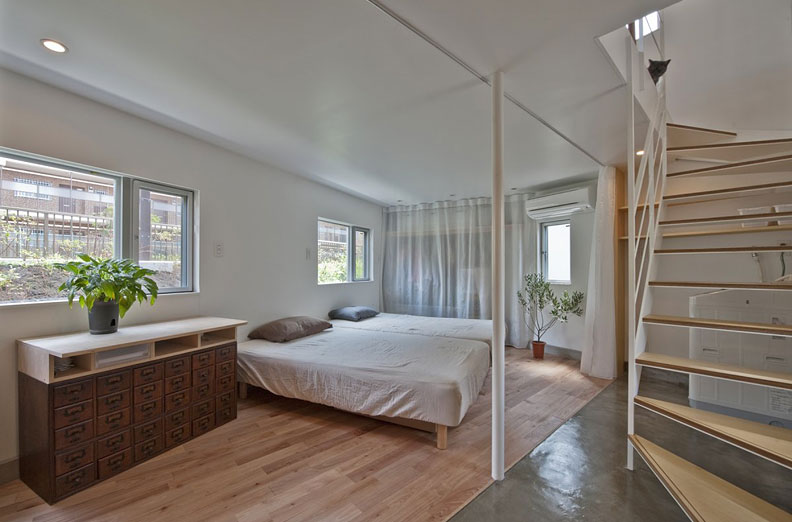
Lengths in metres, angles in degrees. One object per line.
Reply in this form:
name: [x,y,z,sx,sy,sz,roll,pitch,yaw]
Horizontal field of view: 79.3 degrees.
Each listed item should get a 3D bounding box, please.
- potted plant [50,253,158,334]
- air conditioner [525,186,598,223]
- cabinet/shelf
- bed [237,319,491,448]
potted plant: [-2.726,0.236,4.414,0.766,0.549,0.770,4,0,25]
air conditioner: [2.241,-0.791,6.569,0.290,0.328,0.983,0,-2,-36]
cabinet/shelf: [-2.457,1.239,4.656,0.734,1.179,1.954,8,5,26]
bed: [-0.168,1.293,5.649,2.462,0.958,2.014,-1,-2,21]
